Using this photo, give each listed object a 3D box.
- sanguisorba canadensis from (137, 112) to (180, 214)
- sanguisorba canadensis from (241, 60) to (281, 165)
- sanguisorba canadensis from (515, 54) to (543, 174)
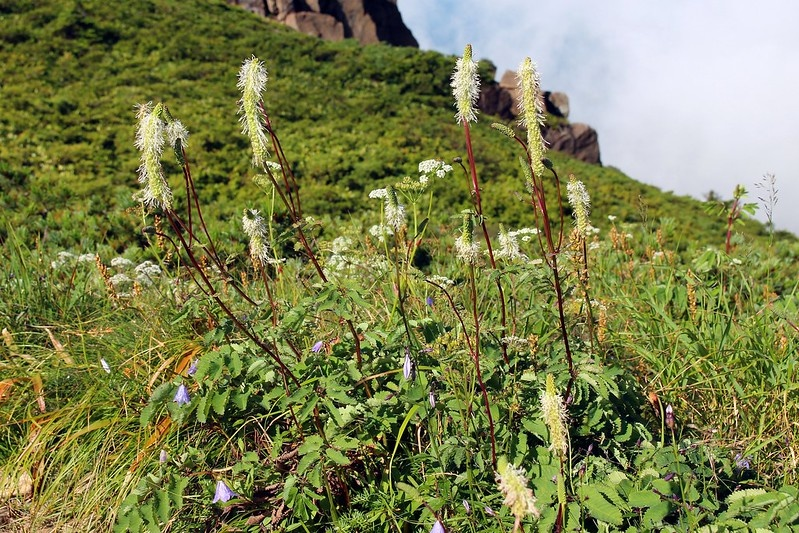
[{"bbox_3d":[-2.535,-1.147,7.360,0.374,0.766,0.889,3,2,-21],"label":"sanguisorba canadensis"},{"bbox_3d":[-1.476,-1.673,7.458,0.314,1.171,0.436,-2,4,-8],"label":"sanguisorba canadensis"},{"bbox_3d":[1.337,-1.514,7.201,0.334,1.121,0.421,4,1,12],"label":"sanguisorba canadensis"}]
